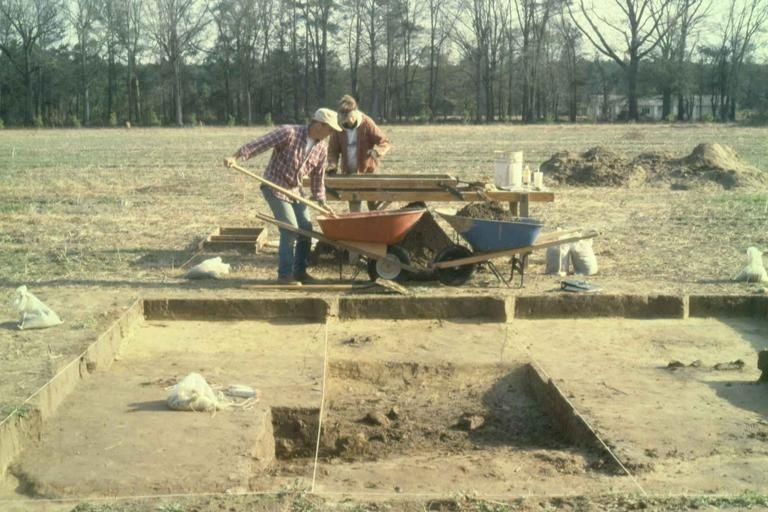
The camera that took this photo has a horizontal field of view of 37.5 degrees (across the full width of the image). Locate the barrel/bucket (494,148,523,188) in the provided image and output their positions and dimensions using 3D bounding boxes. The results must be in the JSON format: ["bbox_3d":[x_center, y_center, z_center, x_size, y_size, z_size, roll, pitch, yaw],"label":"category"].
[{"bbox_3d":[3.980,-2.853,36.187,0.951,1.181,1.000,-1,7,0],"label":"barrel/bucket"}]

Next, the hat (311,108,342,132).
[{"bbox_3d":[-1.718,-4.188,34.260,0.822,0.470,0.612,13,24,2],"label":"hat"}]

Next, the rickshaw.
[{"bbox_3d":[0.583,-0.194,34.816,4.263,2.124,2.496,0,7,-4],"label":"rickshaw"}]
